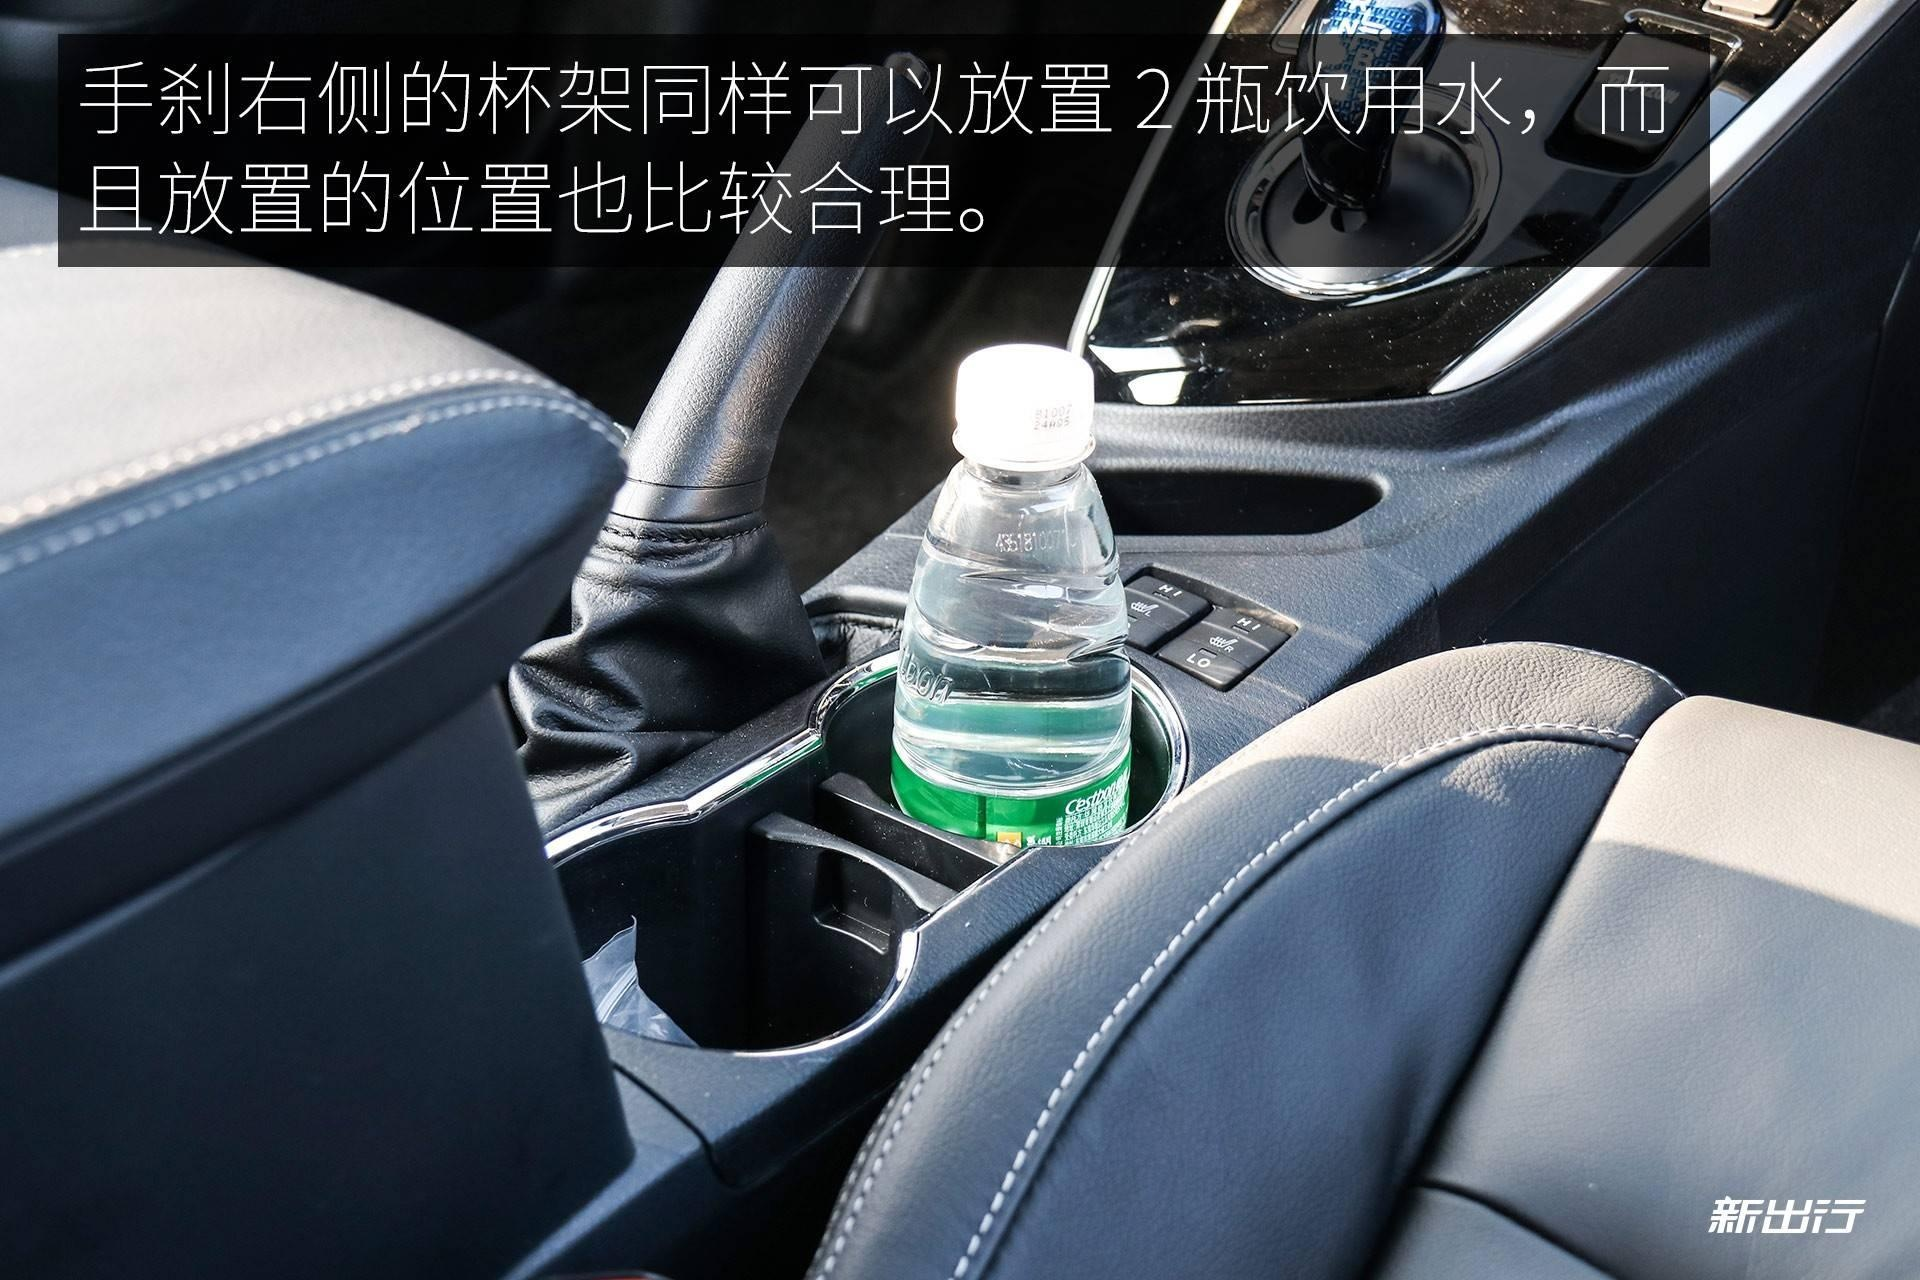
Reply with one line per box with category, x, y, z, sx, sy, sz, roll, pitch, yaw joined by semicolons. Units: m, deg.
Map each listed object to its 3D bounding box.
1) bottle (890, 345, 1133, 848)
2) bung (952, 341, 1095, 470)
bottle;0.040;-0.021;0.960;0.149;0.312;0.160;0;18;0
bung;0.034;-0.125;0.774;0.064;0.049;0.066;-12;28;-24
